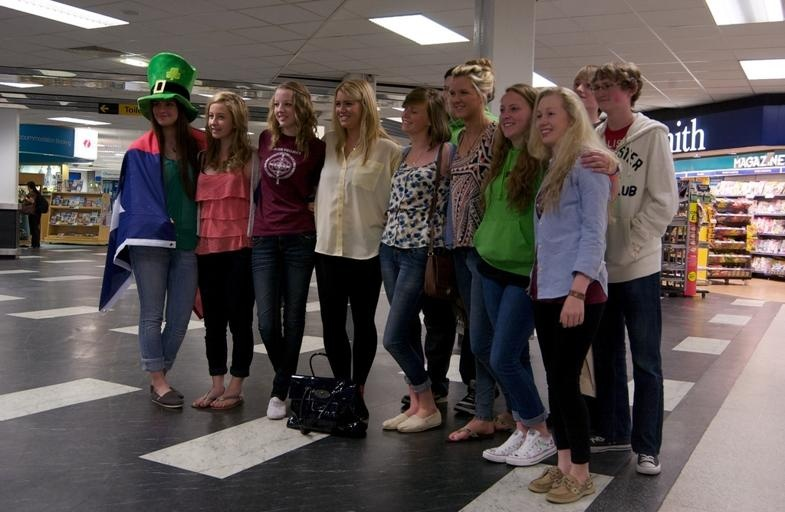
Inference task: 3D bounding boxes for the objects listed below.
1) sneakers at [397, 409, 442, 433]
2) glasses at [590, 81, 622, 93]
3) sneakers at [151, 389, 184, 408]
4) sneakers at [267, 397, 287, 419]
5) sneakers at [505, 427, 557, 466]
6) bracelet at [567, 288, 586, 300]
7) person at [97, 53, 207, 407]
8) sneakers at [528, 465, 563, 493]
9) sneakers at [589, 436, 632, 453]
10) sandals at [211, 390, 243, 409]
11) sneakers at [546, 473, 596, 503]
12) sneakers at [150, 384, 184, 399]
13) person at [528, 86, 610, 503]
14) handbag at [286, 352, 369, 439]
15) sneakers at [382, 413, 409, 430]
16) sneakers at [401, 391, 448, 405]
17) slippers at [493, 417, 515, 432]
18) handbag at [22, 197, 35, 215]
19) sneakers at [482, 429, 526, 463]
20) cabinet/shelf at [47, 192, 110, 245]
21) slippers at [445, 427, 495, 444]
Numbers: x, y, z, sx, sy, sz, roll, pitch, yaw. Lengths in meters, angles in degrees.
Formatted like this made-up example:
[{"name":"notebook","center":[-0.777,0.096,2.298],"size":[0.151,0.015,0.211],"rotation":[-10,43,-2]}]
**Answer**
[{"name":"sneakers","center":[0.151,1.014,3.465],"size":[0.236,0.077,0.108],"rotation":[0,-3,-35]},{"name":"glasses","center":[1.178,-0.922,3.039],"size":[0.087,0.024,0.081],"rotation":[4,-1,-40]},{"name":"sneakers","center":[-1.512,0.934,3.690],"size":[0.210,0.072,0.102],"rotation":[-1,-2,36]},{"name":"sneakers","center":[-0.751,0.967,3.523],"size":[0.090,0.065,0.160],"rotation":[2,-2,-4]},{"name":"sneakers","center":[0.776,1.050,3.116],"size":[0.322,0.127,0.127],"rotation":[-3,2,-40]},{"name":"bracelet","center":[0.868,0.179,2.595],"size":[0.053,0.019,0.050],"rotation":[22,-4,-19]},{"name":"person","center":[-1.571,-0.174,3.643],"size":[0.664,2.306,0.395],"rotation":[-1,7,-20]},{"name":"sneakers","center":[0.783,1.130,2.813],"size":[0.224,0.088,0.079],"rotation":[-12,9,-24]},{"name":"sneakers","center":[1.261,1.102,3.295],"size":[0.278,0.102,0.098],"rotation":[4,-6,-4]},{"name":"sandals","center":[-1.108,0.961,3.694],"size":[0.181,0.065,0.086],"rotation":[7,-9,-39]},{"name":"sneakers","center":[0.880,1.149,2.787],"size":[0.270,0.101,0.095],"rotation":[-4,-3,-28]},{"name":"sneakers","center":[-1.557,0.910,3.764],"size":[0.296,0.101,0.105],"rotation":[-2,-5,13]},{"name":"person","center":[0.850,0.187,2.742],"size":[0.382,2.014,0.316],"rotation":[3,7,13]},{"name":"handbag","center":[-0.402,0.900,3.352],"size":[0.468,0.332,0.133],"rotation":[1,7,-2]},{"name":"sneakers","center":[0.013,1.020,3.457],"size":[0.154,0.058,0.077],"rotation":[-1,-3,-23]},{"name":"sneakers","center":[0.230,0.973,3.915],"size":[0.354,0.136,0.114],"rotation":[11,-12,-39]},{"name":"slippers","center":[0.690,1.030,3.444],"size":[0.156,0.063,0.054],"rotation":[18,-19,19]},{"name":"handbag","center":[-10.893,-1.456,16.494],"size":[0.317,0.439,0.472],"rotation":[-3,8,-32]},{"name":"sneakers","center":[0.669,1.067,3.150],"size":[0.324,0.128,0.105],"rotation":[6,-6,-38]},{"name":"cabinet/shelf","center":[-10.252,-1.222,18.008],"size":[2.048,1.746,0.765],"rotation":[1,-2,12]},{"name":"slippers","center":[0.464,1.063,3.373],"size":[0.275,0.103,0.097],"rotation":[9,2,-11]}]
